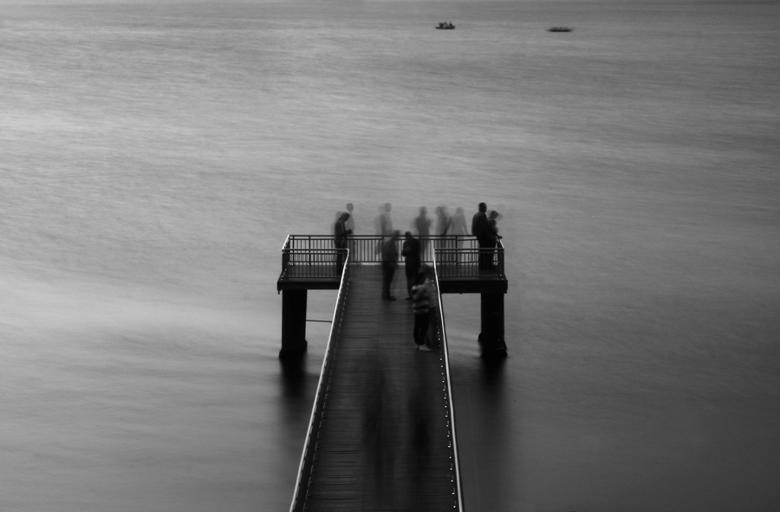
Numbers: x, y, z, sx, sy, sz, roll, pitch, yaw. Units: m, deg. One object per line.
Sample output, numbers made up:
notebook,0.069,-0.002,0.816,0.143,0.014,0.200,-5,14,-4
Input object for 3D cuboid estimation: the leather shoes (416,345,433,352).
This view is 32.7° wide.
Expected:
leather shoes,1.198,3.202,45.689,0.554,0.205,0.179,2,0,5
